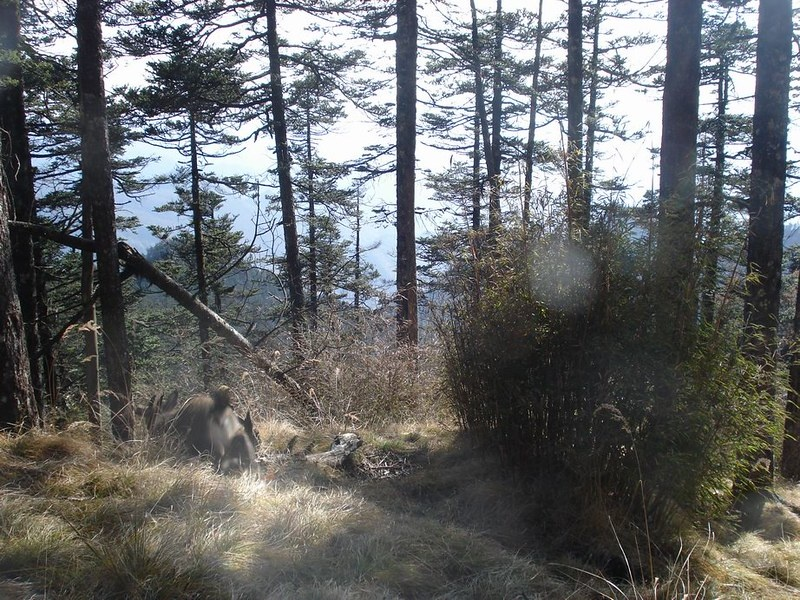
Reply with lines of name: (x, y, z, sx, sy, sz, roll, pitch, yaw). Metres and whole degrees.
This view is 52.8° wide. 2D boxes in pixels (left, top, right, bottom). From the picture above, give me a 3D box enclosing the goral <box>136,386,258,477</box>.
goral: (-2.686, 1.739, 10.825, 1.398, 1.072, 0.917, -3, 6, -10)
